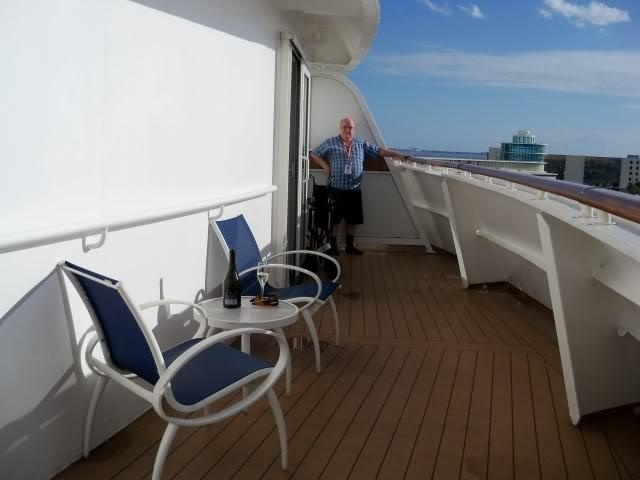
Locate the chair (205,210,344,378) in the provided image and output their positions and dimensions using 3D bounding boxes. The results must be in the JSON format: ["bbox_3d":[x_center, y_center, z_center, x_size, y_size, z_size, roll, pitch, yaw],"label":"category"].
[{"bbox_3d":[-0.317,0.363,3.117,0.800,1.094,0.756,-1,8,5],"label":"chair"}]

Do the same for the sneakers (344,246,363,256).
[{"bbox_3d":[0.525,0.161,6.538,0.311,0.229,0.112,-3,12,-4],"label":"sneakers"}]
